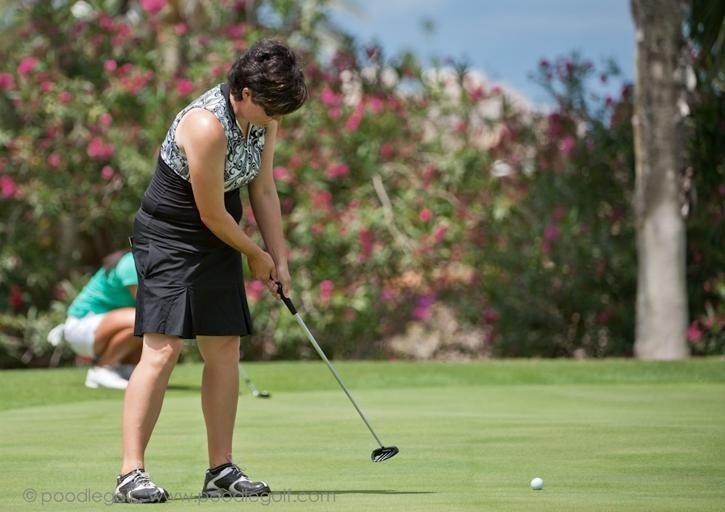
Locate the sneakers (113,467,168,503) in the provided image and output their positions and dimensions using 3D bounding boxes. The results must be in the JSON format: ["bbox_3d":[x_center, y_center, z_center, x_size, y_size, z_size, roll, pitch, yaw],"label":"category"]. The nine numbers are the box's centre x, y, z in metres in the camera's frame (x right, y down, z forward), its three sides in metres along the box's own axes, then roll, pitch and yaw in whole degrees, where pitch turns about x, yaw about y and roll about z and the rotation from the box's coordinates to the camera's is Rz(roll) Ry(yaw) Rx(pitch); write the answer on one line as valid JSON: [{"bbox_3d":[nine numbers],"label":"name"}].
[{"bbox_3d":[-1.194,1.222,6.589,0.277,0.130,0.146,-3,-4,29],"label":"sneakers"}]

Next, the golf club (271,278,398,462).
[{"bbox_3d":[-0.186,0.827,9.098,0.211,1.195,0.121,-35,6,-15],"label":"golf club"}]

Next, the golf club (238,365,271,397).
[{"bbox_3d":[-0.789,0.924,8.874,0.080,0.276,0.268,-17,1,-1],"label":"golf club"}]

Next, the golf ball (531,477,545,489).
[{"bbox_3d":[0.958,1.232,6.726,0.054,0.055,0.056,-11,-30,-6],"label":"golf ball"}]

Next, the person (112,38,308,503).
[{"bbox_3d":[-0.857,0.067,6.795,0.983,2.503,0.542,1,-1,-12],"label":"person"}]

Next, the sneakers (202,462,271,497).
[{"bbox_3d":[-0.711,1.231,6.789,0.378,0.176,0.152,0,-11,8],"label":"sneakers"}]
